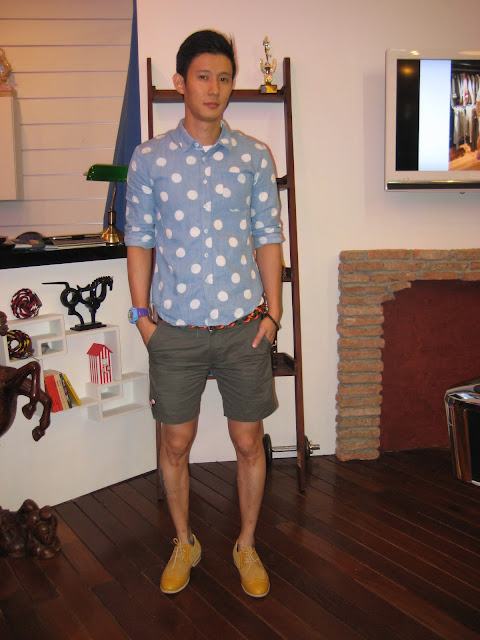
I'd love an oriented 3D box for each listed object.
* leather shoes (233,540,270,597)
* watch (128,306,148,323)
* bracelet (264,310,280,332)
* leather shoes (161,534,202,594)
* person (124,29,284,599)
[{"bbox_3d":[0.045,0.828,1.745,0.070,0.061,0.177,-4,11,-12],"label":"leather shoes"},{"bbox_3d":[-0.321,-0.018,1.645,0.058,0.052,0.042,0,15,-41],"label":"watch"},{"bbox_3d":[0.120,0.006,1.704,0.026,0.067,0.048,-37,21,4],"label":"bracelet"},{"bbox_3d":[-0.191,0.824,1.796,0.074,0.081,0.201,0,6,12],"label":"leather shoes"},{"bbox_3d":[-0.114,0.019,1.707,0.496,1.748,0.285,-1,7,3],"label":"person"}]
